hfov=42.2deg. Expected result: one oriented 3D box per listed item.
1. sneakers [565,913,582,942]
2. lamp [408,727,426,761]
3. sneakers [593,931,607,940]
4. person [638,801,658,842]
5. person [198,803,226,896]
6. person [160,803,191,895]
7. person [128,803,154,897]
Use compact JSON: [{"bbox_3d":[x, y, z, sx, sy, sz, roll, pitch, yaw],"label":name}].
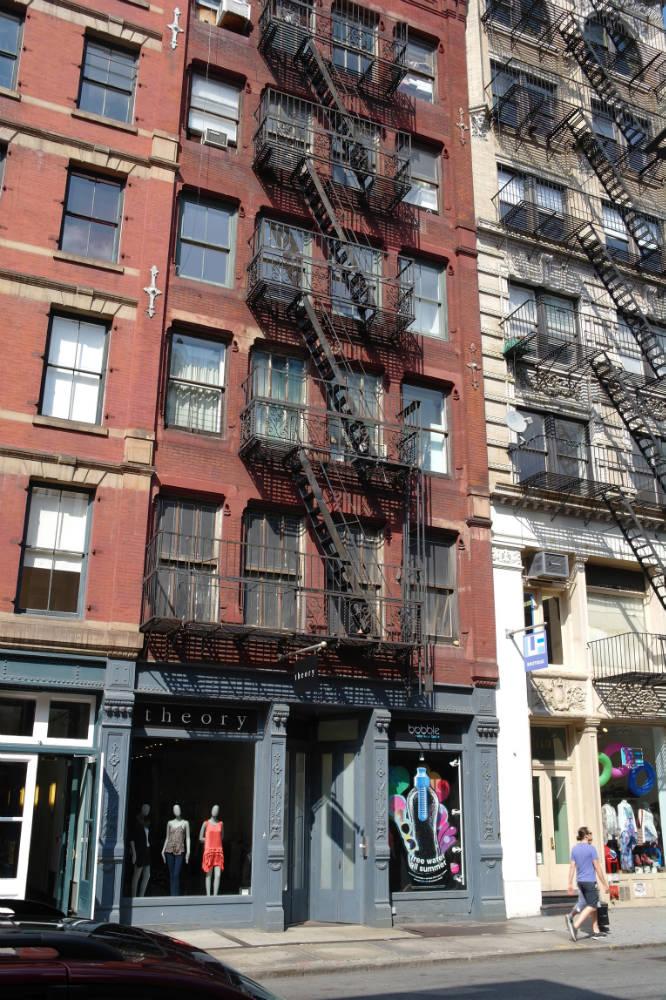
[{"bbox_3d":[4.043,7.222,14.456,0.240,0.594,0.196,-11,10,7],"label":"sneakers"},{"bbox_3d":[1.805,5.114,18.083,0.457,0.683,0.185,15,-24,-39],"label":"lamp"},{"bbox_3d":[4.593,7.442,14.733,0.314,0.142,0.110,5,-15,-16],"label":"sneakers"},{"bbox_3d":[7.723,7.912,21.068,0.710,0.906,0.167,16,-25,-41],"label":"person"},{"bbox_3d":[-2.146,6.316,15.540,0.524,1.472,0.211,15,-24,-39],"label":"person"},{"bbox_3d":[-2.739,6.154,15.186,0.202,1.472,0.570,-16,-24,37],"label":"person"},{"bbox_3d":[-3.291,6.024,14.856,0.165,1.474,0.433,-17,-24,39],"label":"person"}]
